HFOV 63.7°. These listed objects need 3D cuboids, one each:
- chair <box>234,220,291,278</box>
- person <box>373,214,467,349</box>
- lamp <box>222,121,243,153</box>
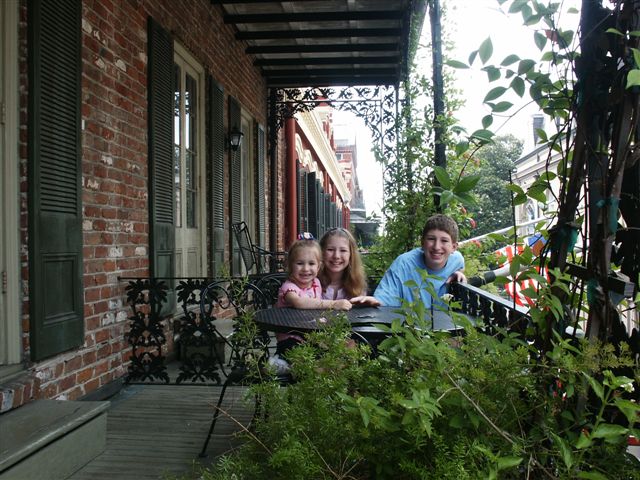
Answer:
[{"bbox_3d":[-0.849,0.354,7.534,0.747,1.319,0.665,0,1,12],"label":"chair"},{"bbox_3d":[0.563,0.166,2.823,0.543,0.976,0.319,7,-17,0],"label":"person"},{"bbox_3d":[-1.146,-1.349,6.791,0.282,0.492,0.236,-1,6,7],"label":"lamp"}]
